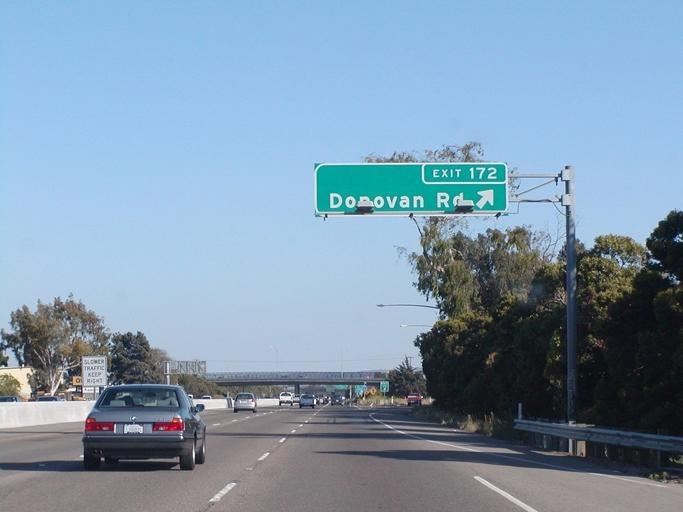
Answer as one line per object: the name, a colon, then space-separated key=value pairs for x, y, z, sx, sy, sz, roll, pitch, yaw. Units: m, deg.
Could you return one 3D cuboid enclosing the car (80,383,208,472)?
car: x=-5.488 y=4.738 z=29.484 sx=3.291 sy=2.459 sz=2.043 roll=2 pitch=-10 yaw=-17
